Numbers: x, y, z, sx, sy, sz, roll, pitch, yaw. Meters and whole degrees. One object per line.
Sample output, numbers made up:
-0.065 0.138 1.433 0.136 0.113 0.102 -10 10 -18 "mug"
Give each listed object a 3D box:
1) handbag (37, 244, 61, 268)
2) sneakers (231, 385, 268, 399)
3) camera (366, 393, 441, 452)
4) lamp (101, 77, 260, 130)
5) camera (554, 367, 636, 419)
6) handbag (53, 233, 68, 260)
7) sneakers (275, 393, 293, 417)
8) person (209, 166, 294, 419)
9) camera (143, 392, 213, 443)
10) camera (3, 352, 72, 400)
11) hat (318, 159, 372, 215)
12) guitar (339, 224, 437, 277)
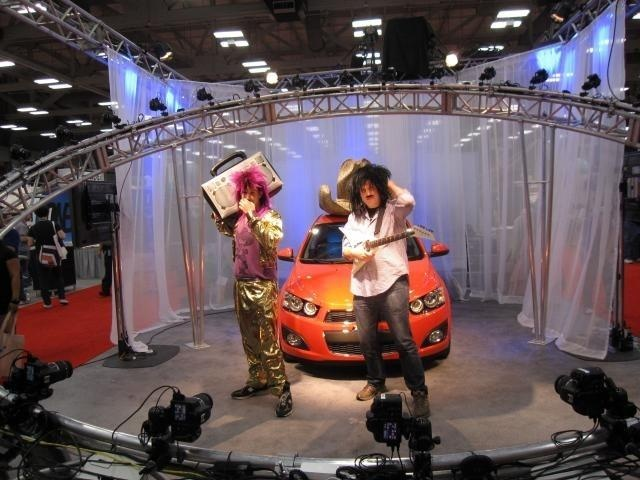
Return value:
-4.748 0.271 8.085 0.368 0.440 0.276 1 9 -13 "handbag"
-0.719 1.497 4.636 0.316 0.146 0.128 5 -5 -30 "sneakers"
0.590 1.286 3.140 0.474 0.250 0.318 -3 -26 26 "camera"
-1.858 -1.859 6.237 0.261 0.379 1.641 -21 -2 30 "lamp"
1.914 1.112 3.299 0.307 0.309 0.521 -7 5 -20 "camera"
-4.590 0.117 8.324 0.217 0.450 0.298 -18 16 -30 "handbag"
-0.331 1.499 4.209 0.164 0.177 0.165 -3 8 -5 "sneakers"
-0.577 0.433 4.372 0.472 2.263 0.860 -9 10 -42 "person"
-0.989 1.246 3.346 0.455 0.349 0.348 -2 -5 26 "camera"
-2.284 1.095 3.705 0.483 0.354 0.262 -5 8 -22 "camera"
0.349 -0.749 6.497 0.599 0.462 0.877 3 6 27 "hat"
0.592 0.038 4.166 0.793 0.413 0.112 -21 -12 28 "guitar"
